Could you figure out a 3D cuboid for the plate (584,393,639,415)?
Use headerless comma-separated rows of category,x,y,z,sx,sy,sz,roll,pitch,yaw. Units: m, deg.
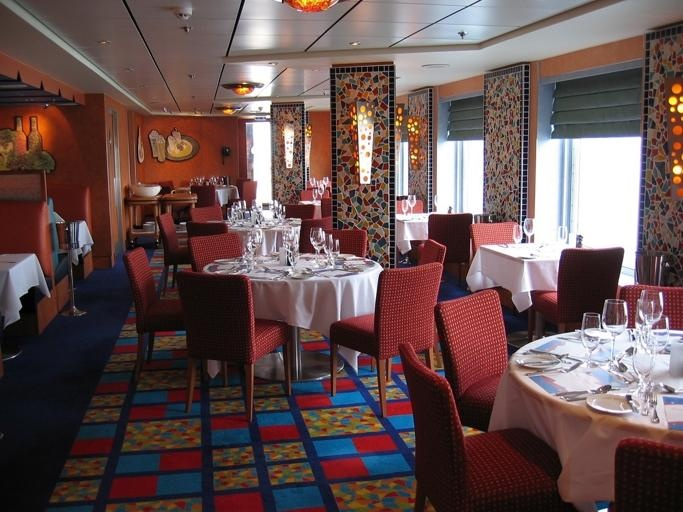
plate,1.104,0.602,2.001,0.165,0.019,0.204,6,13,30

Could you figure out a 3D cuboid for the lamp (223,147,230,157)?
lamp,-3.766,-3.407,15.865,0.285,0.342,0.183,-3,12,-15

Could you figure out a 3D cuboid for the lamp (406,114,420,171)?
lamp,1.309,-2.077,8.930,0.187,0.918,0.362,-6,12,-26

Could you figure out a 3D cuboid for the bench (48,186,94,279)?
bench,-4.681,-0.539,8.129,0.603,0.942,0.608,-1,14,26

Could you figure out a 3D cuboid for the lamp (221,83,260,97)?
lamp,-1.545,-2.686,7.723,0.753,0.167,0.266,7,14,32

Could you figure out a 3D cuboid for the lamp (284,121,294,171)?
lamp,-1.236,-2.566,11.490,0.272,1.006,0.267,-2,11,-6
